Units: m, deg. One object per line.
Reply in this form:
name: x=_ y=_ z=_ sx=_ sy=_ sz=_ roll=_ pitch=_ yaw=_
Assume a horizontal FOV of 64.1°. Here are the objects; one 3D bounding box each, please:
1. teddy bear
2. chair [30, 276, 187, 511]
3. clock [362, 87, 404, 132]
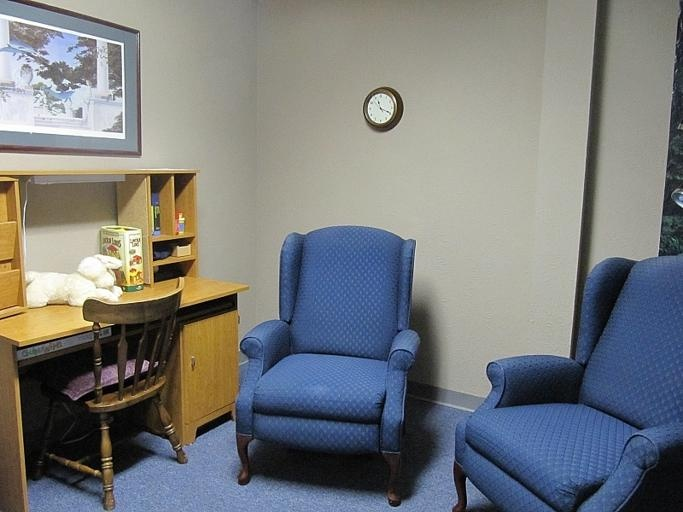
teddy bear: x=-1.398 y=0.131 z=2.903 sx=0.452 sy=0.304 sz=0.276 roll=3 pitch=1 yaw=-18
chair: x=-1.153 y=0.569 z=3.347 sx=0.932 sy=1.522 sz=0.984 roll=7 pitch=8 yaw=26
clock: x=0.276 y=-0.968 z=3.662 sx=0.262 sy=0.270 sz=0.261 roll=-24 pitch=-10 yaw=38
